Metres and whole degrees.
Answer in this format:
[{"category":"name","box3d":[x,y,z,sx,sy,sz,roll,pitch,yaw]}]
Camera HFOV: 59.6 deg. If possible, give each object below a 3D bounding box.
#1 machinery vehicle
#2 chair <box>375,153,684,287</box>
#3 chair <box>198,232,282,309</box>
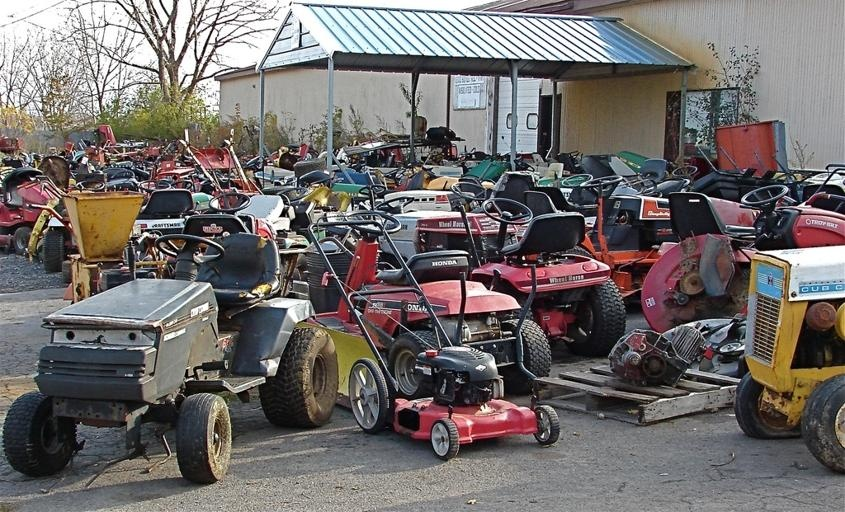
[{"category":"machinery vehicle","box3d":[-0.462,0.128,7.950,7.524,2.897,2.705,-2,8,-23]},{"category":"chair","box3d":[1.918,-0.365,10.881,3.054,1.944,1.706,8,1,6]},{"category":"chair","box3d":[-1.806,0.137,6.938,0.937,0.673,0.931,-2,6,-10]}]
